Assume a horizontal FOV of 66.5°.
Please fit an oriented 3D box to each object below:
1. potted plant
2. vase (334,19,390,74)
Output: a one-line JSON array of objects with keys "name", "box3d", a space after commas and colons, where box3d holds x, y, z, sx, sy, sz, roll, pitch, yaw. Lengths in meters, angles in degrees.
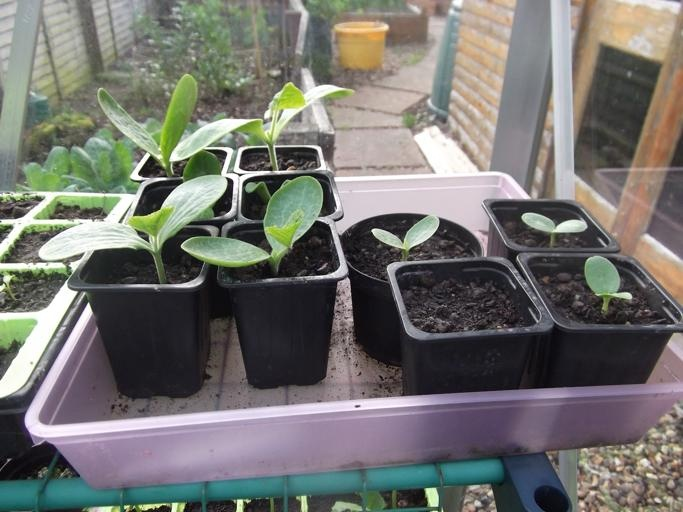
[{"name": "potted plant", "box3d": [0.003, 0.022, 1.073, 0.839, 0.263, 0.708, -3, 45, -3]}, {"name": "vase", "box3d": [0.048, -0.514, 1.271, 0.101, 0.070, 0.106, 12, 36, 17]}]
